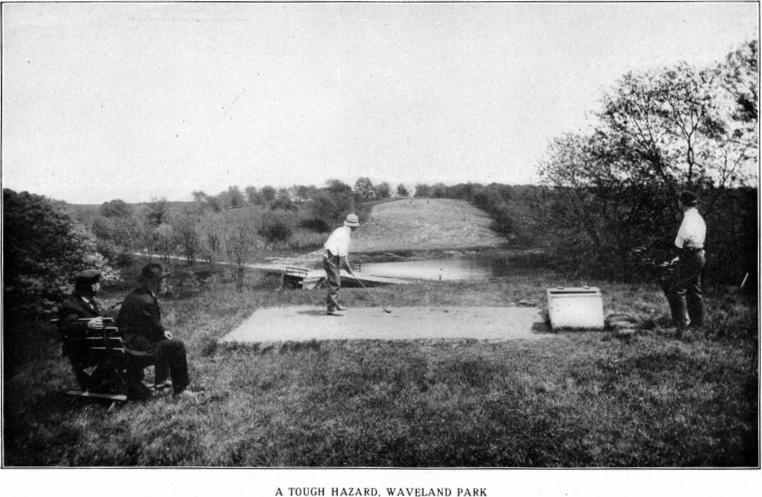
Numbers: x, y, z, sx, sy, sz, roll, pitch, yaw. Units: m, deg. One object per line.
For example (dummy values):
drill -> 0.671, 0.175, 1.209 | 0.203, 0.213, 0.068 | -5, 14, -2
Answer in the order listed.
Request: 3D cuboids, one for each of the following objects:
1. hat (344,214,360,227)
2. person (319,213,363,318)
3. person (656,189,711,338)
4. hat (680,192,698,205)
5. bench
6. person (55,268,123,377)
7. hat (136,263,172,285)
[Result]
hat -> -0.527, -0.544, 12.179 | 0.237, 0.137, 0.228 | -11, 29, -33
person -> -0.723, 0.251, 12.062 | 0.678, 1.801, 0.376 | -3, 3, -8
person -> 5.393, 0.246, 11.592 | 0.710, 2.488, 0.175 | -3, 3, -5
hat -> 5.410, -0.883, 11.549 | 0.190, 0.245, 0.250 | 5, 7, 5
bench -> -4.778, 1.898, 11.203 | 1.408, 1.697, 1.616 | 1, 3, 5
person -> -4.834, 1.258, 10.747 | 0.767, 1.814, 0.797 | -6, 39, -21
hat -> -3.678, 0.430, 10.738 | 0.356, 0.192, 0.503 | -1, 13, 1
